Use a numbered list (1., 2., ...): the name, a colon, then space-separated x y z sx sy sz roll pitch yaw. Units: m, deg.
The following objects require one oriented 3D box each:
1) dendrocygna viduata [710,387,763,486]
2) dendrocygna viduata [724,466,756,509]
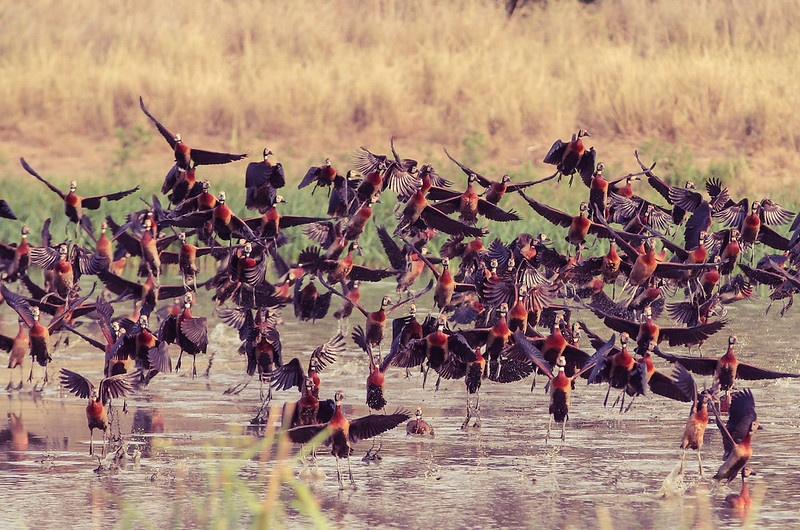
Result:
1. dendrocygna viduata: 5.970 3.134 31.073 0.974 1.192 1.282 -14 -25 35
2. dendrocygna viduata: 5.827 3.828 30.024 0.451 0.568 0.540 3 26 12
